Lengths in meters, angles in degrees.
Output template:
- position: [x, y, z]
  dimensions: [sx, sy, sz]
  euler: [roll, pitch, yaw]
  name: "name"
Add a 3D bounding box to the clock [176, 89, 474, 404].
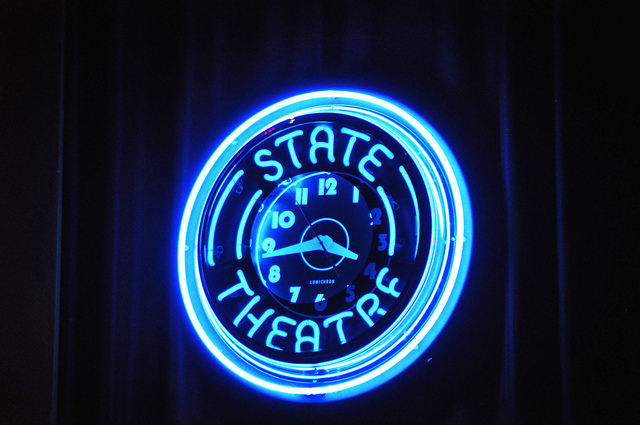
- position: [-0.031, 0.152, 4.457]
  dimensions: [1.586, 0.188, 1.593]
  euler: [-2, -77, -28]
  name: "clock"
